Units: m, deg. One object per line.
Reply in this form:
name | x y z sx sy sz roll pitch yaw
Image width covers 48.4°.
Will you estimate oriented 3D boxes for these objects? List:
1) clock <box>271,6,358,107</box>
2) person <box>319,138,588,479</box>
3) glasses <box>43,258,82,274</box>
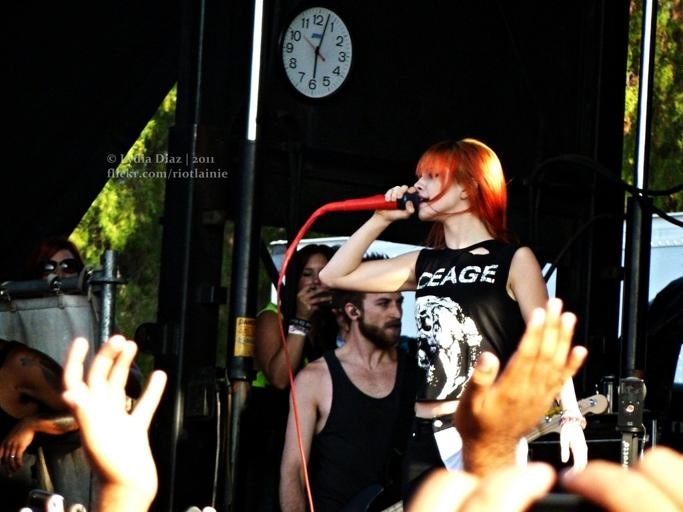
clock | -0.170 -1.066 4.060 0.512 0.681 0.056 0 -2 -29
person | 0.362 0.217 3.094 0.604 2.019 0.952 17 -28 -30
glasses | -1.301 0.045 3.543 0.096 0.035 0.108 -2 -35 -7
